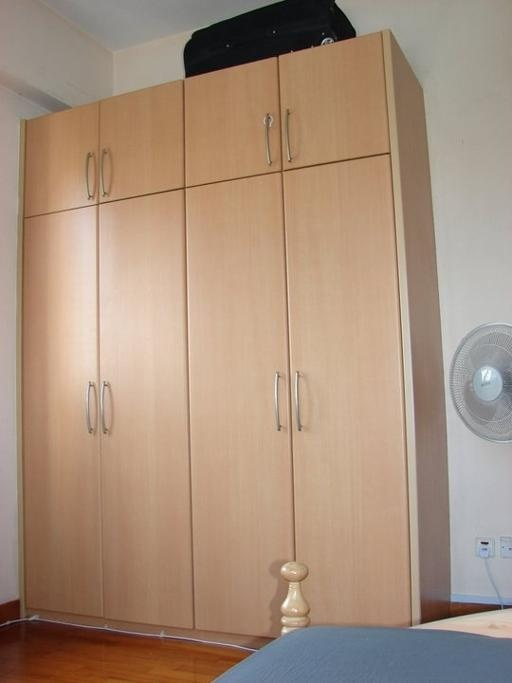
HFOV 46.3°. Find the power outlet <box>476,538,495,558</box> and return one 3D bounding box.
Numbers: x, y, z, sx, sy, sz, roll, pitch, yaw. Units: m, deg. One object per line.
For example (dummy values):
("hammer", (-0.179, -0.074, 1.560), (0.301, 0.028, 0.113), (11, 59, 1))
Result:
("power outlet", (0.885, 0.794, 2.293), (0.054, 0.067, 0.032), (-4, -23, 37))
